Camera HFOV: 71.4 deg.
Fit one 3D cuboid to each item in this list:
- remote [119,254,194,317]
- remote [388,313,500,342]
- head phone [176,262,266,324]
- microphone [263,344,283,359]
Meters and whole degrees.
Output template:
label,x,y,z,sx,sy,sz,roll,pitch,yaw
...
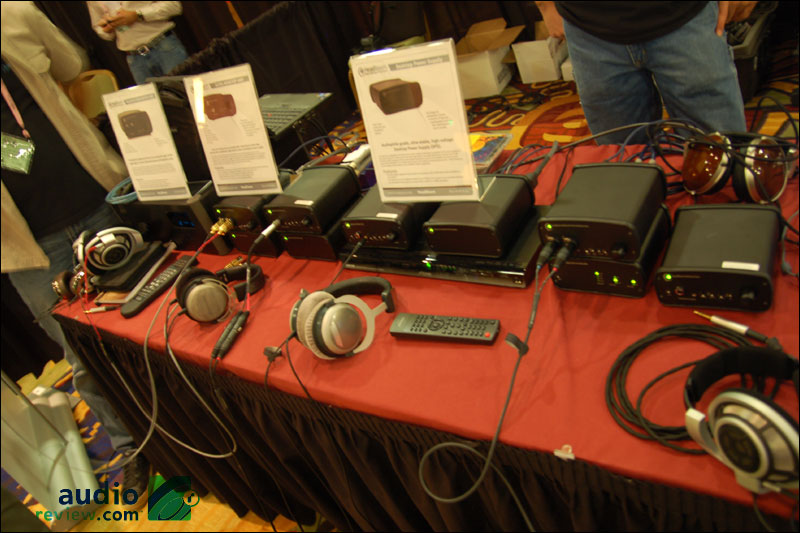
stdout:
label,x,y,z,sx,sy,sz,roll,pitch,yaw
remote,-0.903,0.079,2.047,0.079,0.038,0.276,10,45,42
remote,0.126,0.176,1.606,0.356,0.045,0.108,2,48,19
head phone,-0.627,0.071,1.957,0.230,0.157,0.305,13,33,39
microphone,-0.387,0.261,1.687,0.043,0.018,0.040,17,48,0
